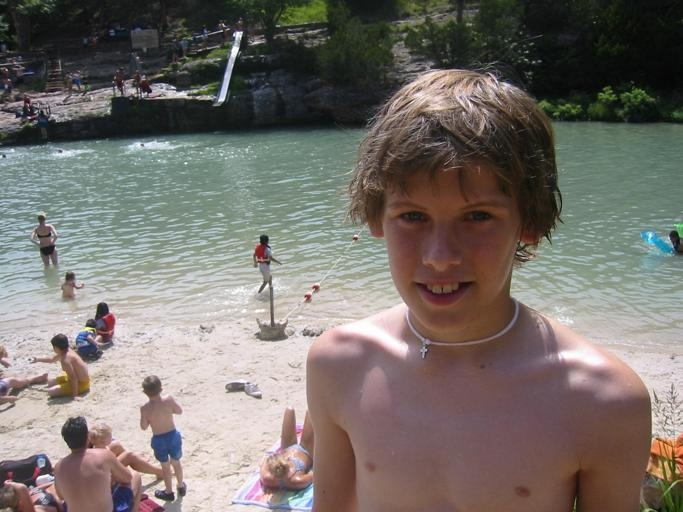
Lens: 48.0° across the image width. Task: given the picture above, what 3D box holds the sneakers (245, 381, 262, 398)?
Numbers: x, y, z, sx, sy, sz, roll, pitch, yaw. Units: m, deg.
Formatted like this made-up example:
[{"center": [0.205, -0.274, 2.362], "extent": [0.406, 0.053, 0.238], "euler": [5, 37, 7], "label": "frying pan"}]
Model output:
[{"center": [-1.550, 2.398, 13.603], "extent": [0.272, 0.138, 0.439], "euler": [-7, 14, -23], "label": "sneakers"}]

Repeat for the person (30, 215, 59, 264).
[{"center": [-7.635, -0.393, 19.719], "extent": [0.587, 1.376, 0.929], "euler": [-7, 14, -22], "label": "person"}]

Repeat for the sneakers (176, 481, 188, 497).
[{"center": [-2.399, 3.524, 11.536], "extent": [0.089, 0.100, 0.242], "euler": [2, 8, -4], "label": "sneakers"}]

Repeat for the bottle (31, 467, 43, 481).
[{"center": [-4.590, 3.293, 11.563], "extent": [0.043, 0.154, 0.119], "euler": [7, -14, 25], "label": "bottle"}]

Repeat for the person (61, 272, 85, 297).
[{"center": [-6.331, 0.652, 17.994], "extent": [0.466, 0.650, 0.831], "euler": [-5, 13, -13], "label": "person"}]

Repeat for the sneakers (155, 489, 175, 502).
[{"center": [-2.641, 3.567, 11.550], "extent": [0.339, 0.140, 0.131], "euler": [10, 15, 17], "label": "sneakers"}]
